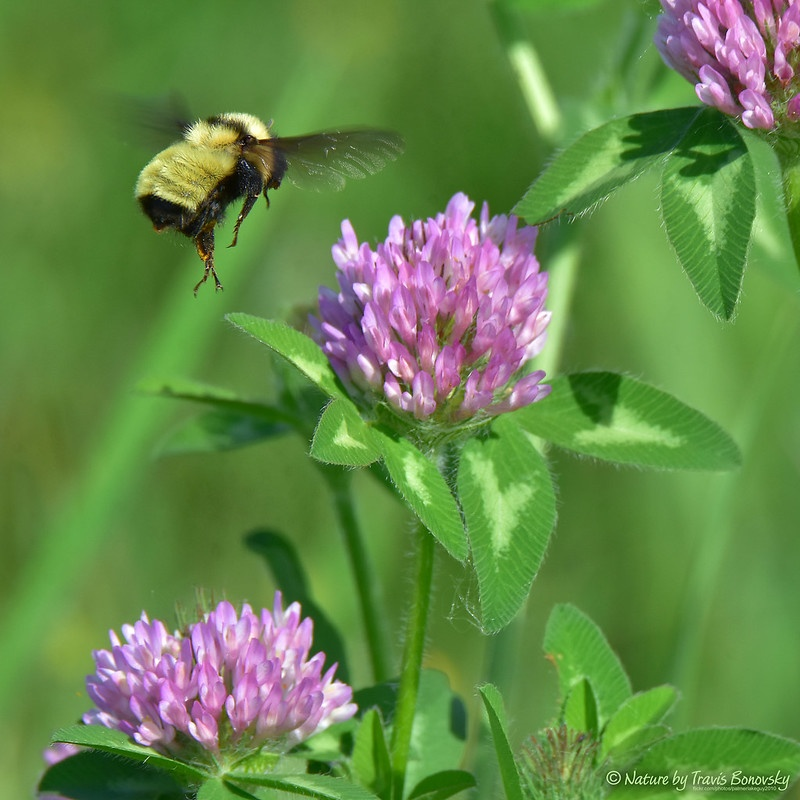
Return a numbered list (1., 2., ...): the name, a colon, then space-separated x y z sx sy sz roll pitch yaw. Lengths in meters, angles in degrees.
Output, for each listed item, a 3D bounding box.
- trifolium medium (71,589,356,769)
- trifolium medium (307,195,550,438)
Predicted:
1. trifolium medium: -0.222 0.275 1.210 0.197 0.159 0.238 -1 -3 7
2. trifolium medium: 0.080 -0.043 1.373 0.315 0.297 0.326 2 -1 -35
